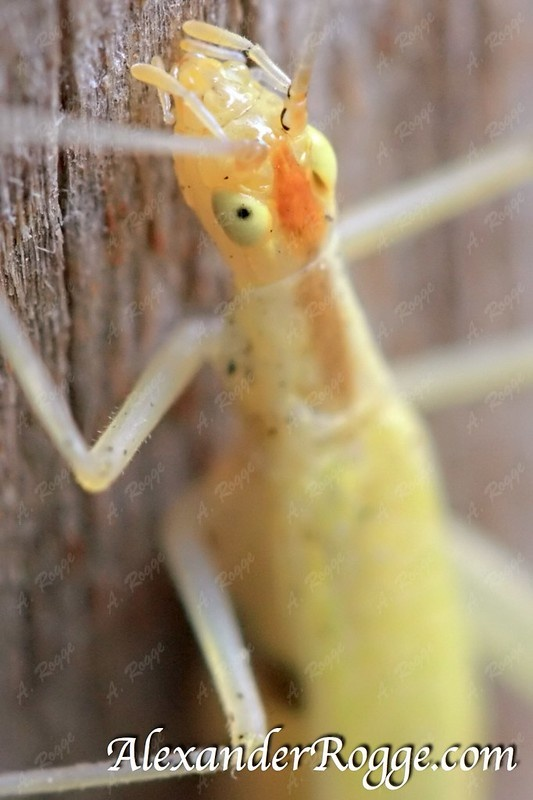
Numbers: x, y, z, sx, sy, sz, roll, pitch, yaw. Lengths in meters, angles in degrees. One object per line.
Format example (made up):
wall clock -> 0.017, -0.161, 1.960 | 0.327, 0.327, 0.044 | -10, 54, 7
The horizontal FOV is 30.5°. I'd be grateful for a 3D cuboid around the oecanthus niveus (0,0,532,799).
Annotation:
oecanthus niveus -> -0.042, -0.005, 0.696 | 0.374, 0.446, 0.125 | -27, 22, -27
